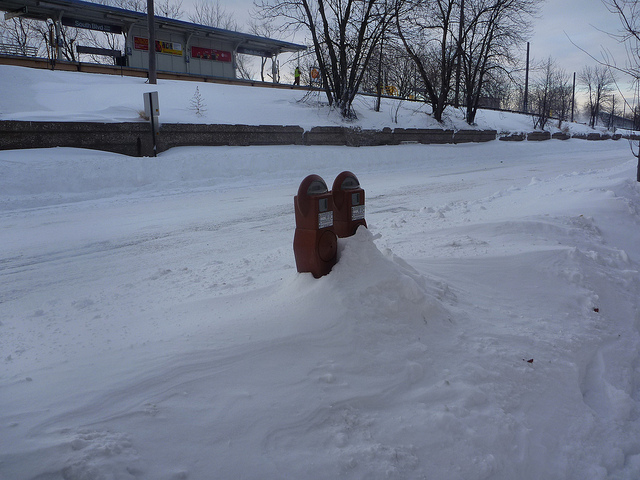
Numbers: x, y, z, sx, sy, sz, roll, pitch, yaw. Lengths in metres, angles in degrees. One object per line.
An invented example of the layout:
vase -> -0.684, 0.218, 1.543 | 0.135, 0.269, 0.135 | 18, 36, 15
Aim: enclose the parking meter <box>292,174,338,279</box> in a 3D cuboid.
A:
parking meter -> -0.081, -0.162, 5.497 | 0.553, 1.260, 0.391 | -4, 11, 2
